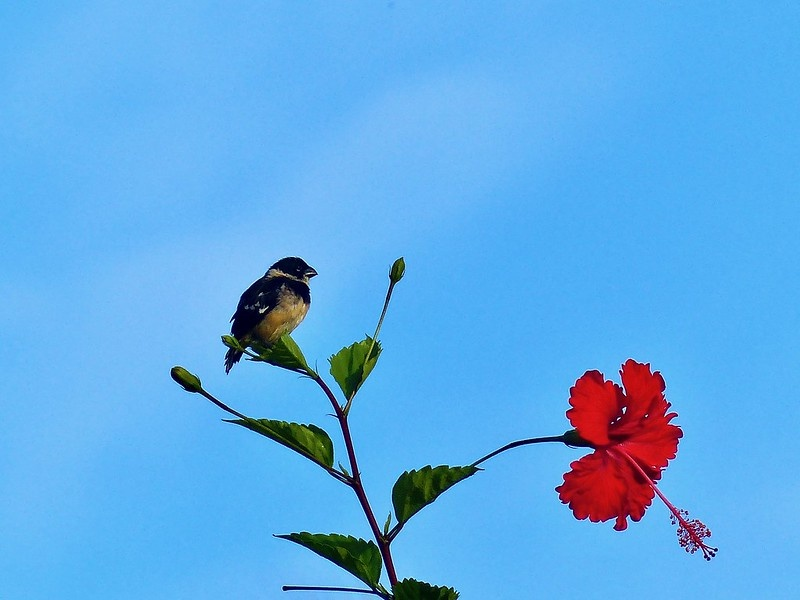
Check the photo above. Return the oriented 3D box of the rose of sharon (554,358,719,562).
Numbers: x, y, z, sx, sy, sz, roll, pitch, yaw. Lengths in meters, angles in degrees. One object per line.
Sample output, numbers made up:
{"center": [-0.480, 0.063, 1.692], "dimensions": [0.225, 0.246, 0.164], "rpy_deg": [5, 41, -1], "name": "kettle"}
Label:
{"center": [0.655, 0.434, 3.502], "dimensions": [0.363, 0.324, 0.358], "rpy_deg": [5, -51, -11], "name": "rose of sharon"}
